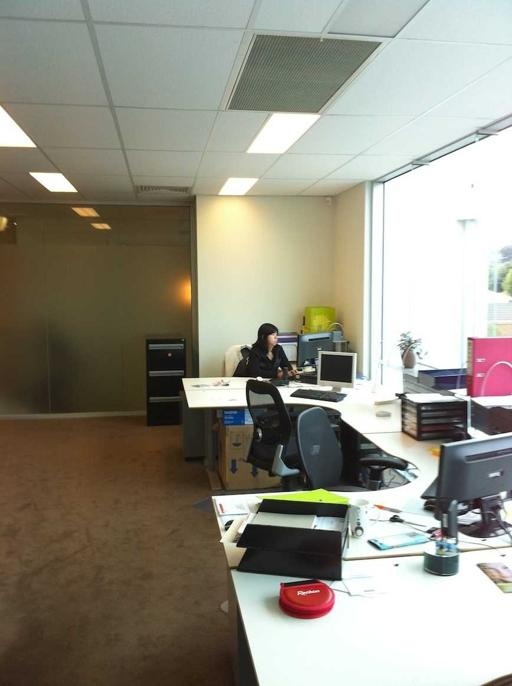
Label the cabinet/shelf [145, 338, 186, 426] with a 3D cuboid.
[{"bbox_3d":[-1.225,0.488,6.814,0.615,1.087,0.706,0,6,-11],"label":"cabinet/shelf"}]

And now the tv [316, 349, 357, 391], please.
[{"bbox_3d":[0.668,0.242,4.491,0.331,0.337,0.118,2,-2,32],"label":"tv"}]

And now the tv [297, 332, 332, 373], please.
[{"bbox_3d":[0.529,0.101,4.952,0.335,0.292,0.110,-8,20,-35],"label":"tv"}]

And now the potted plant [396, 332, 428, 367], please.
[{"bbox_3d":[1.499,0.058,5.159,0.254,0.329,0.516,2,6,24],"label":"potted plant"}]
